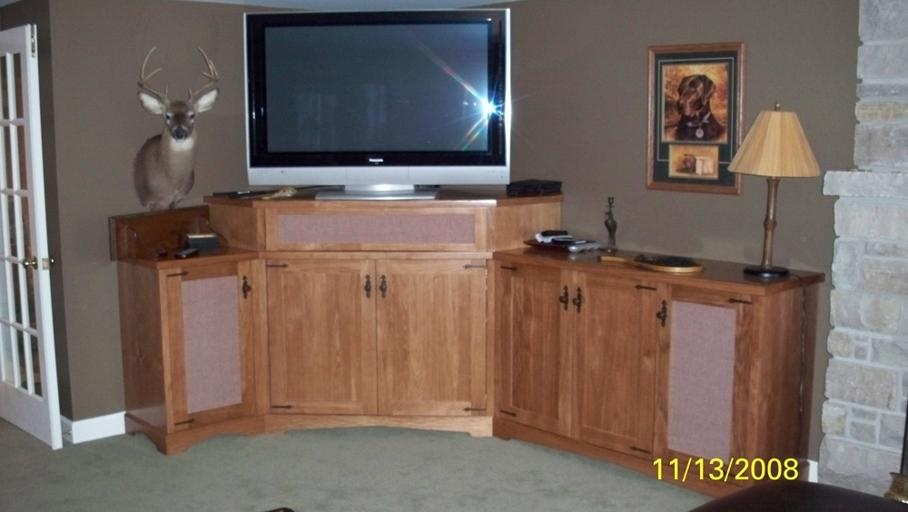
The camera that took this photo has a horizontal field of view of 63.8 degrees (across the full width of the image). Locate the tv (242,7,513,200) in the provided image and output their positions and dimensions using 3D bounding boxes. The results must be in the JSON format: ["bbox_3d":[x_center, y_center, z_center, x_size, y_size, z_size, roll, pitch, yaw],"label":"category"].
[{"bbox_3d":[-0.581,-1.203,5.658,1.778,1.064,0.442,0,4,3],"label":"tv"}]

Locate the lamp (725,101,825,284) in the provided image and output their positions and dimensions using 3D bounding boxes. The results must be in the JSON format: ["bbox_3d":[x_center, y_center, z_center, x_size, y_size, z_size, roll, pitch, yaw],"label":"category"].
[{"bbox_3d":[2.127,-0.430,4.878,0.583,1.130,0.388,1,8,7],"label":"lamp"}]
